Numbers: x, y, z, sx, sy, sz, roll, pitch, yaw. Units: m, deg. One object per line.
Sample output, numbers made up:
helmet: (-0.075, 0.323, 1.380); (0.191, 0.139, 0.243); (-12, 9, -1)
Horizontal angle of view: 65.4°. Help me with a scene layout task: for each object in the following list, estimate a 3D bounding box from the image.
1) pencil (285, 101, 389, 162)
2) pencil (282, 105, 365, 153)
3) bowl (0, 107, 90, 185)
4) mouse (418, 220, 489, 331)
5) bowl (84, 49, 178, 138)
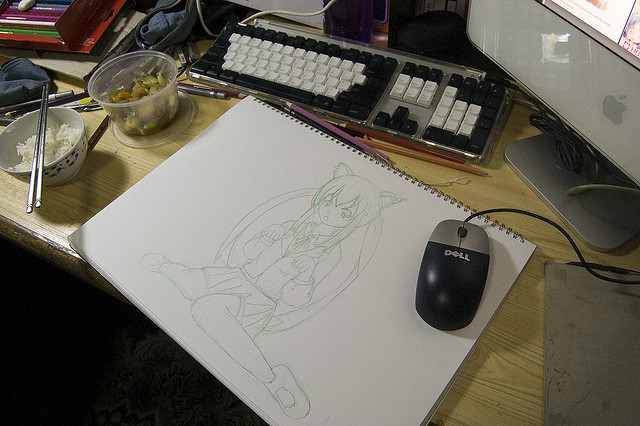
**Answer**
pencil: (0.025, -0.164, 1.004); (0.018, 0.020, 0.317); (-35, 50, -24)
pencil: (0.011, -0.162, 0.977); (0.151, 0.009, 0.011); (39, 28, 14)
bowl: (-0.514, -0.116, 0.989); (0.143, 0.078, 0.158); (-18, 63, -10)
mouse: (0.221, 0.096, 0.826); (0.101, 0.049, 0.200); (10, 59, 23)
bowl: (-0.391, -0.236, 1.090); (0.184, 0.098, 0.186); (0, 60, 1)
